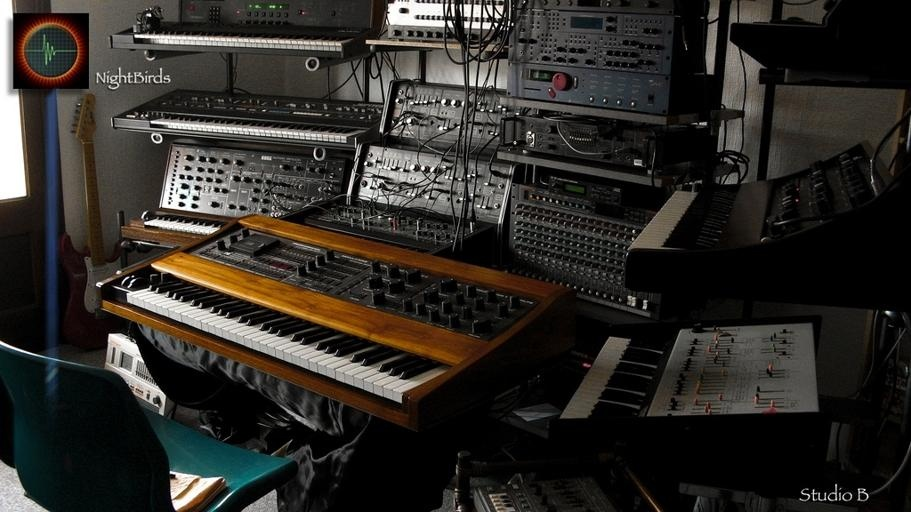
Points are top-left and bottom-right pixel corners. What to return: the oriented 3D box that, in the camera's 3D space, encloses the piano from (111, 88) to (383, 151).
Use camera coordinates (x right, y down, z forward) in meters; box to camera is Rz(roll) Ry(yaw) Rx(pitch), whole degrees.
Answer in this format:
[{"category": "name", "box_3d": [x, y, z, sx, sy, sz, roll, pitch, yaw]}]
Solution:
[{"category": "piano", "box_3d": [-1.398, -0.960, 4.793, 1.953, 0.333, 0.443, 8, 14, 18]}]
